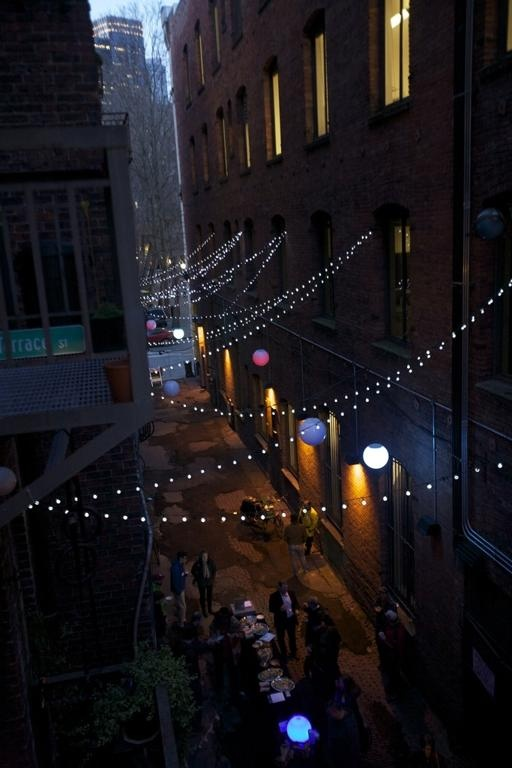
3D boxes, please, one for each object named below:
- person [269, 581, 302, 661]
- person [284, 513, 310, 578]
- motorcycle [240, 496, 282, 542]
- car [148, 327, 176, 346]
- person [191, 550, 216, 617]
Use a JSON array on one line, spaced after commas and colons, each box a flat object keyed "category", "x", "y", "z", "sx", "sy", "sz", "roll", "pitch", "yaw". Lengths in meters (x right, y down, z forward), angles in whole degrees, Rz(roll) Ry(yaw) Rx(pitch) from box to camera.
[{"category": "person", "x": 0.434, "y": 3.204, "z": 7.639, "sx": 0.327, "sy": 1.128, "sz": 0.298, "roll": -9, "pitch": 9, "yaw": -20}, {"category": "person", "x": 0.712, "y": 2.726, "z": 9.855, "sx": 0.331, "sy": 1.285, "sz": 0.377, "roll": -6, "pitch": 29, "yaw": 1}, {"category": "motorcycle", "x": 0.127, "y": 2.798, "z": 11.975, "sx": 0.830, "sy": 0.693, "sz": 0.968, "roll": -5, "pitch": 8, "yaw": -1}, {"category": "car", "x": -5.719, "y": -2.798, "z": 34.502, "sx": 1.505, "sy": 1.060, "sz": 1.444, "roll": -7, "pitch": 8, "yaw": -12}, {"category": "person", "x": -0.790, "y": 3.160, "z": 8.900, "sx": 0.311, "sy": 1.119, "sz": 0.290, "roll": -3, "pitch": 13, "yaw": -10}]
